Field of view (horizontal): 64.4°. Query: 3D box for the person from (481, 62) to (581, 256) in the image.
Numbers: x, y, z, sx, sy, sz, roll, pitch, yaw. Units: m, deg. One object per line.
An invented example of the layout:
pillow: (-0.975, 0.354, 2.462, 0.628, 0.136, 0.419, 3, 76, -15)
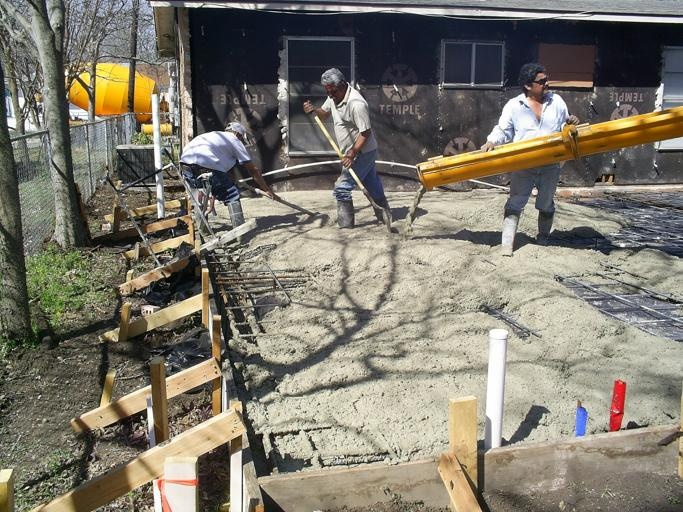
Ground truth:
person: (2.435, -1.237, 7.102, 1.027, 2.397, 0.636, -2, 14, -10)

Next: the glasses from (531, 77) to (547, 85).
glasses: (2.476, -2.150, 6.746, 0.169, 0.088, 0.066, -4, 14, -17)

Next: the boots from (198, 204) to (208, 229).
boots: (-2.150, -0.590, 8.399, 0.138, 0.375, 0.276, 4, 7, -7)

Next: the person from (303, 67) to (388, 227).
person: (0.164, -1.552, 8.166, 1.200, 2.338, 0.905, 1, 14, 5)

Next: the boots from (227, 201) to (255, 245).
boots: (-1.576, -0.477, 8.467, 0.274, 0.198, 0.778, -24, 26, -6)
